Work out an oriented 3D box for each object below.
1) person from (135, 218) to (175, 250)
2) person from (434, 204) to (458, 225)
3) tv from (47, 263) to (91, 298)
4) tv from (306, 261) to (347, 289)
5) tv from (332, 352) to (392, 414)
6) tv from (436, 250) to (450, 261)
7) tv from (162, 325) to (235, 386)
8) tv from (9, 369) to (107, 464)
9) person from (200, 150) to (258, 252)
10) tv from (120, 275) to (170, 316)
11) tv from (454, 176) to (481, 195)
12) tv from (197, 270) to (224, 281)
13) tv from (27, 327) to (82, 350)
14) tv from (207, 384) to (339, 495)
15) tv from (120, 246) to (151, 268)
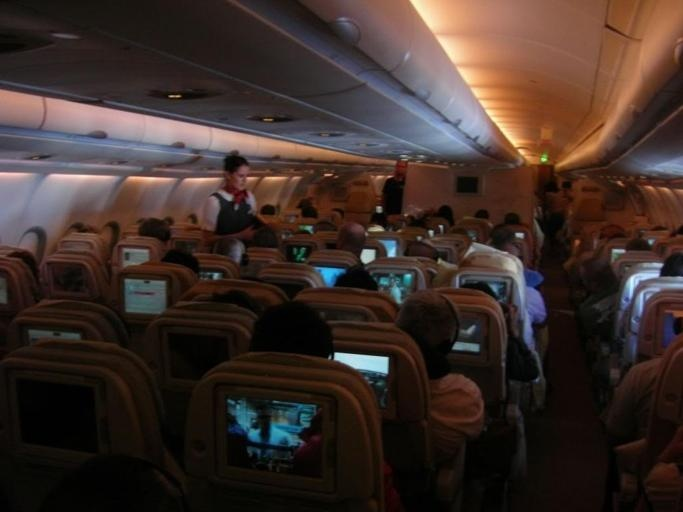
[{"bbox_3d":[-3.127,-0.420,8.893,0.582,0.295,0.772,7,12,-3],"label":"person"},{"bbox_3d":[2.970,-1.199,14.873,0.558,0.788,0.260,0,1,1],"label":"person"},{"bbox_3d":[-3.384,0.295,6.534,0.416,0.337,0.221,5,16,10],"label":"tv"},{"bbox_3d":[-0.148,0.188,5.210,0.283,0.183,0.039,5,17,22],"label":"tv"},{"bbox_3d":[0.130,0.686,2.874,0.330,0.335,0.087,3,8,29],"label":"tv"},{"bbox_3d":[1.496,-0.012,7.835,0.205,0.182,0.057,7,7,37],"label":"tv"},{"bbox_3d":[-0.901,0.622,3.210,0.429,0.351,0.111,6,19,12],"label":"tv"},{"bbox_3d":[-1.197,0.683,2.217,0.511,0.382,0.069,2,7,22],"label":"tv"},{"bbox_3d":[-1.280,-0.633,6.075,0.646,1.104,0.827,-2,7,-10],"label":"person"},{"bbox_3d":[-1.718,0.339,4.620,0.381,0.303,0.198,3,6,10],"label":"tv"},{"bbox_3d":[3.642,-2.036,15.078,0.660,0.566,0.156,1,7,13],"label":"tv"},{"bbox_3d":[-1.342,0.208,5.416,0.218,0.108,0.141,4,2,8],"label":"tv"},{"bbox_3d":[-1.580,0.453,2.866,0.206,0.050,0.181,3,0,1],"label":"tv"},{"bbox_3d":[-0.285,0.672,1.996,0.432,0.377,0.097,3,17,16],"label":"tv"},{"bbox_3d":[-2.716,0.002,6.933,0.319,0.180,0.044,6,14,22],"label":"tv"}]
